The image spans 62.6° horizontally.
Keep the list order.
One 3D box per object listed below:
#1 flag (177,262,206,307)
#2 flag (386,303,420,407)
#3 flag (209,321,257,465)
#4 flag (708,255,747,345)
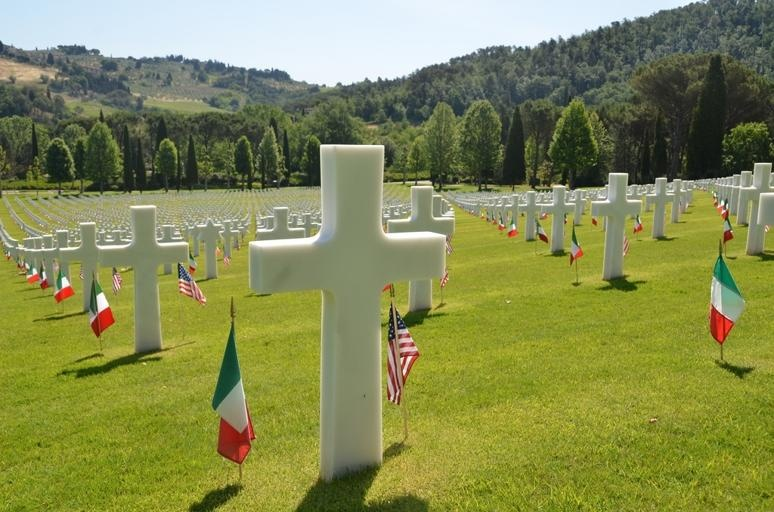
[{"bbox_3d":[-6.756,1.030,21.902,1.199,1.846,0.262,14,48,13],"label":"flag"},{"bbox_3d":[0.287,2.016,12.922,0.561,2.267,0.638,-1,9,1],"label":"flag"},{"bbox_3d":[-3.023,2.671,12.210,0.705,2.495,0.546,-1,9,4],"label":"flag"},{"bbox_3d":[7.604,0.998,14.275,0.583,2.025,0.630,1,10,14],"label":"flag"}]
